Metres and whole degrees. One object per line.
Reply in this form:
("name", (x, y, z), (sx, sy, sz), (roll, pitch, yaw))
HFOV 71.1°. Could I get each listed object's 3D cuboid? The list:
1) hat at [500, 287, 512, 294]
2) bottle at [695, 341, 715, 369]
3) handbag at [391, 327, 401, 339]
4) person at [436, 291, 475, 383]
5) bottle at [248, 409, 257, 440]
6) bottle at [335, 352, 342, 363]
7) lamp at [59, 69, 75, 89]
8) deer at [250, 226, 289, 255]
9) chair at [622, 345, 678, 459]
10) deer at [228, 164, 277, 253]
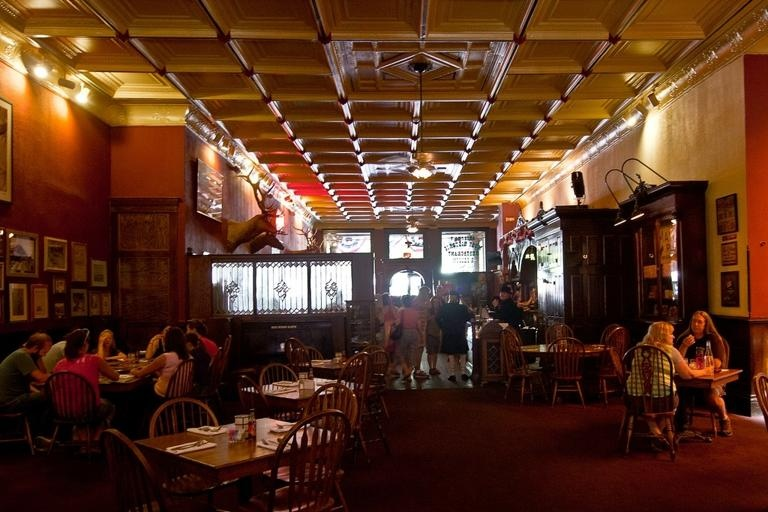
("hat", (2.725, 0.753, 12.023), (0.178, 0.210, 0.205), (7, -12, -27))
("bottle", (4.412, 1.360, 7.393), (0.239, 0.337, 0.610), (1, 2, 30))
("handbag", (0.256, 1.690, 11.942), (0.202, 0.266, 0.077), (0, -12, 38))
("person", (1.546, 1.822, 12.119), (0.696, 1.839, 1.397), (0, 2, 9))
("bottle", (-1.290, 1.627, 5.219), (0.080, 0.249, 0.249), (-1, 2, -15))
("bottle", (-0.742, 1.625, 8.608), (0.134, 0.189, 0.122), (2, -3, 0))
("lamp", (-5.284, -2.971, 8.951), (0.248, 0.331, 0.459), (-2, 2, -30))
("deer", (-2.836, -0.388, 12.929), (0.840, 0.391, 0.552), (-4, -18, -40))
("chair", (3.453, 1.839, 6.986), (0.694, 1.464, 0.582), (0, 2, 5))
("deer", (-3.227, -1.054, 13.218), (1.189, 1.901, 2.443), (-1, 2, -8))
